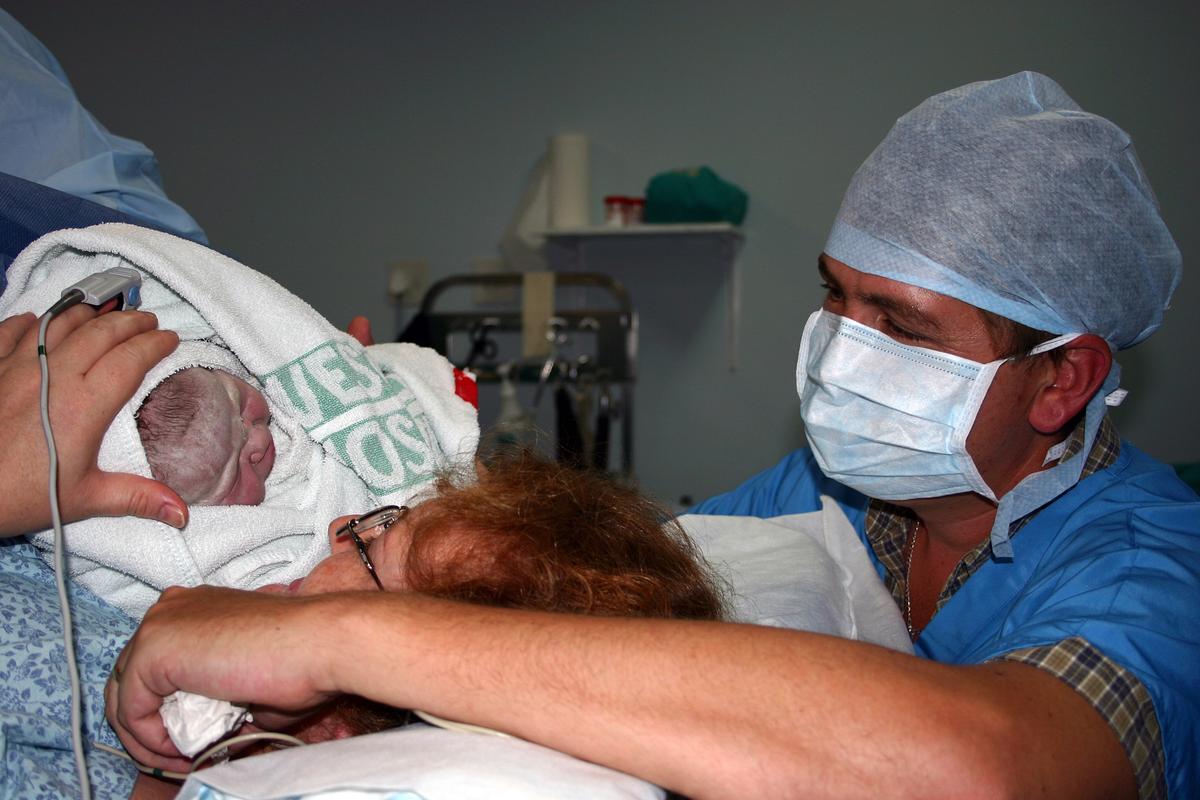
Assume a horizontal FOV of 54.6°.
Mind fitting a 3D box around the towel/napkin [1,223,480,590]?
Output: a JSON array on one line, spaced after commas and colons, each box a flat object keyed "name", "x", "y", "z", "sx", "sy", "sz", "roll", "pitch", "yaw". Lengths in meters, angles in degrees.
[{"name": "towel/napkin", "x": -0.724, "y": 0.044, "z": 2.667, "sx": 0.894, "sy": 0.798, "sz": 0.940, "roll": 4, "pitch": 4, "yaw": 23}]

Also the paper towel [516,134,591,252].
[{"name": "paper towel", "x": -0.099, "y": -0.775, "z": 4.185, "sx": 0.217, "sy": 0.313, "sz": 0.165, "roll": 6, "pitch": 9, "yaw": 33}]

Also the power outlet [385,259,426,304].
[{"name": "power outlet", "x": -0.786, "y": -0.491, "z": 4.671, "sx": 0.201, "sy": 0.185, "sz": 0.142, "roll": -7, "pitch": 11, "yaw": -10}]

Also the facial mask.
[{"name": "facial mask", "x": 0.621, "y": 0.010, "z": 2.503, "sx": 0.309, "sy": 0.393, "sz": 0.447, "roll": -5, "pitch": 10, "yaw": -30}]
